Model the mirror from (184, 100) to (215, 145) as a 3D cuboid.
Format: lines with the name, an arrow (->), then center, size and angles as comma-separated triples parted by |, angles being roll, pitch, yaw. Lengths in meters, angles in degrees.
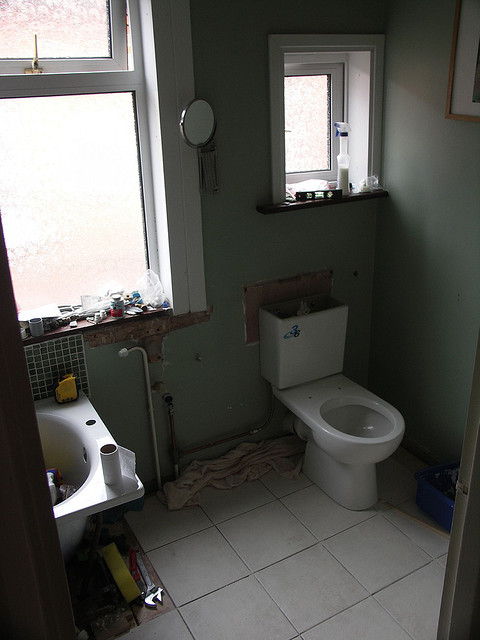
mirror -> -0.182, -0.849, 2.101 | 0.140, 0.159, 0.024 | -36, 46, -24

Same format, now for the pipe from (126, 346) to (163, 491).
pipe -> -0.473, 0.513, 2.473 | 0.105, 0.824, 0.057 | -13, 21, -28

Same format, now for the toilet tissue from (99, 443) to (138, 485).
toilet tissue -> -0.431, 0.493, 1.735 | 0.113, 0.135, 0.143 | -8, 20, -13

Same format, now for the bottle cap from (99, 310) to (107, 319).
bottle cap -> -0.626, -0.026, 2.240 | 0.029, 0.031, 0.030 | 19, 27, 37

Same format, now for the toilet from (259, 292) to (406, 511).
toilet -> 0.470, 0.456, 2.631 | 0.496, 1.087, 0.937 | -16, 29, -29

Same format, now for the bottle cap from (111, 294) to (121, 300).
bottle cap -> -0.569, -0.108, 2.263 | 0.032, 0.014, 0.035 | 8, 18, 20

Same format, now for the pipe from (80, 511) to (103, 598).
pipe -> -0.616, 0.979, 2.020 | 0.061, 0.483, 0.052 | 5, 11, -31

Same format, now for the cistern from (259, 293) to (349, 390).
cistern -> 0.306, 0.110, 2.695 | 0.404, 0.534, 0.348 | -10, 26, -28

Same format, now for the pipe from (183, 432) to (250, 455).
pipe -> -0.149, 0.687, 2.730 | 0.399, 0.043, 0.045 | -18, -7, -24

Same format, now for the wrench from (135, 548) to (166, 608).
wrench -> -0.392, 1.112, 2.137 | 0.092, 0.025, 0.329 | -10, 22, -17
